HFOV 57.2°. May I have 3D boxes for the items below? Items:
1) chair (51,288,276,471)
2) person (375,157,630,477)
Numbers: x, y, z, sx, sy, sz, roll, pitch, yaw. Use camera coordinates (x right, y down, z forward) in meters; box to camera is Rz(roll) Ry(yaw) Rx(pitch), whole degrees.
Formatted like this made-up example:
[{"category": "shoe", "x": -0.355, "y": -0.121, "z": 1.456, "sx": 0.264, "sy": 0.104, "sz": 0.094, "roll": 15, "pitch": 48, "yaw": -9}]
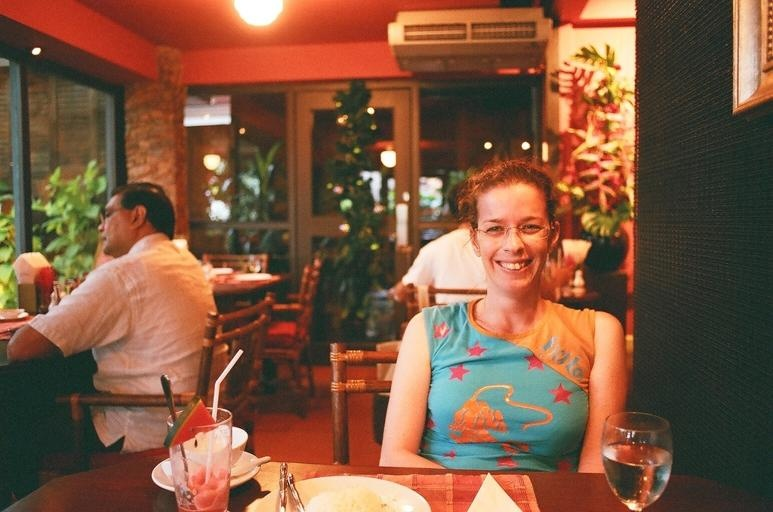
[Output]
[{"category": "chair", "x": -0.987, "y": 0.523, "z": 3.534, "sx": 0.844, "sy": 1.226, "sz": 0.761, "roll": 0, "pitch": -1, "yaw": 5}, {"category": "person", "x": 0.454, "y": 0.219, "z": 2.718, "sx": 0.936, "sy": 1.178, "sz": 0.392, "roll": 0, "pitch": 5, "yaw": 2}]
